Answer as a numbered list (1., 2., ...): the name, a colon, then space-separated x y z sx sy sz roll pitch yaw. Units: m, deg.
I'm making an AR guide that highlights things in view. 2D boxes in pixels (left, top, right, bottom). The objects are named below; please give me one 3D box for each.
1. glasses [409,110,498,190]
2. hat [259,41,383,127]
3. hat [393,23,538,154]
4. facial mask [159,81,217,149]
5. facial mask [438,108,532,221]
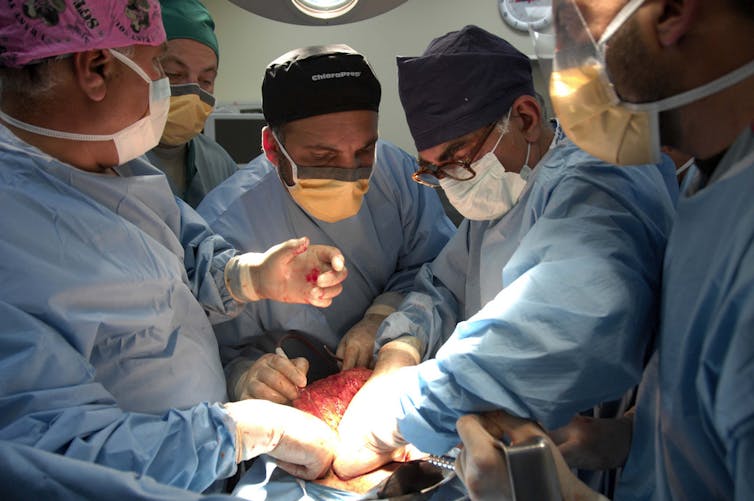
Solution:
1. glasses: 0.277 -0.350 2.374 0.068 0.232 0.219 44 -17 -19
2. hat: -0.232 -0.651 2.546 0.338 0.232 0.338 -16 9 -34
3. hat: 0.295 -0.597 2.416 0.490 0.362 0.357 -33 25 -2
4. facial mask: -0.878 -0.617 3.034 0.219 0.201 0.249 -4 36 -48
5. facial mask: 0.393 -0.273 2.407 0.200 0.393 0.292 17 -5 -12
